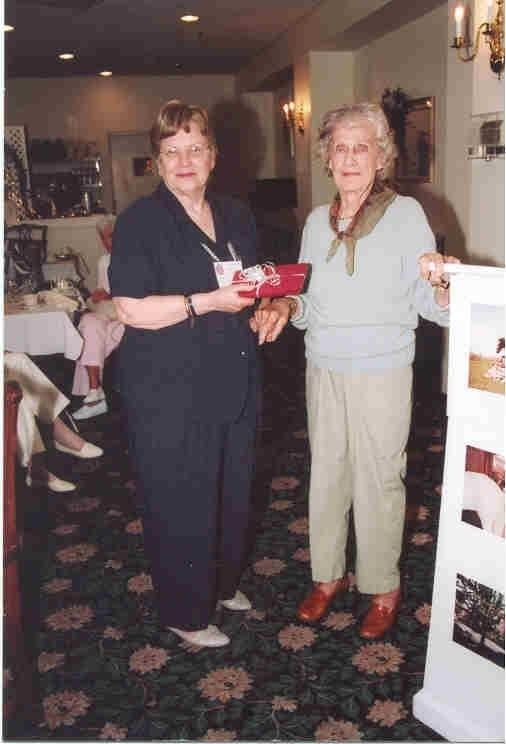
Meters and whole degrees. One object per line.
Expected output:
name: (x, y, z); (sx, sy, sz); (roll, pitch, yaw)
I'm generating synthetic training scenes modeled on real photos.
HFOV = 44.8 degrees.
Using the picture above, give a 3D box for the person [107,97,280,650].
person: (-0.088, 0.061, 1.454); (0.337, 1.312, 0.337); (1, 14, 17)

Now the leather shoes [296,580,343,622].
leather shoes: (0.187, 0.630, 1.671); (0.131, 0.056, 0.044); (-47, 36, -8)

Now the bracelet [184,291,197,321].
bracelet: (-0.129, -0.132, 1.269); (0.014, 0.040, 0.035); (-17, 36, -1)

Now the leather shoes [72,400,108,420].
leather shoes: (-0.800, 0.195, 3.075); (0.175, 0.070, 0.083); (-14, 26, -1)

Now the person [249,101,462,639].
person: (0.240, 0.064, 1.409); (0.408, 1.282, 0.177); (4, 14, 25)

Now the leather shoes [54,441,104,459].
leather shoes: (-0.773, 0.359, 2.746); (0.202, 0.059, 0.087); (3, 26, -3)

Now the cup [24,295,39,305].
cup: (-0.941, -0.304, 2.602); (0.045, 0.030, 0.045); (-1, 4, 0)

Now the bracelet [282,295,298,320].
bracelet: (0.091, -0.153, 1.428); (0.018, 0.045, 0.039); (3, -5, 15)

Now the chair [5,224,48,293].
chair: (-1.020, -0.513, 2.757); (0.204, 0.305, 0.139); (-8, 14, -21)

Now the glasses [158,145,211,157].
glasses: (-0.140, -0.469, 1.307); (0.091, 0.022, 0.017); (-3, 13, -2)
